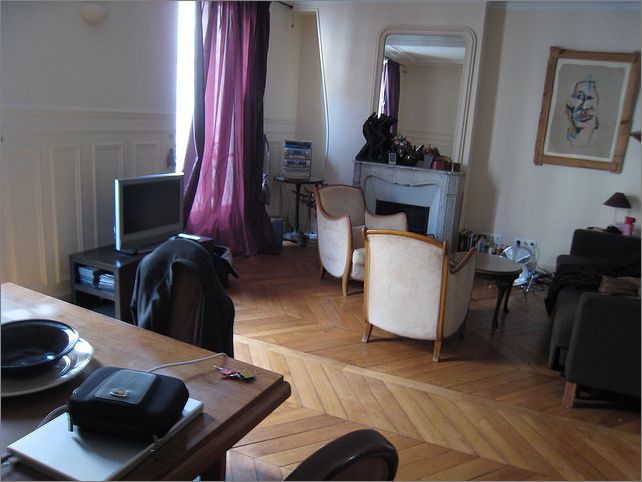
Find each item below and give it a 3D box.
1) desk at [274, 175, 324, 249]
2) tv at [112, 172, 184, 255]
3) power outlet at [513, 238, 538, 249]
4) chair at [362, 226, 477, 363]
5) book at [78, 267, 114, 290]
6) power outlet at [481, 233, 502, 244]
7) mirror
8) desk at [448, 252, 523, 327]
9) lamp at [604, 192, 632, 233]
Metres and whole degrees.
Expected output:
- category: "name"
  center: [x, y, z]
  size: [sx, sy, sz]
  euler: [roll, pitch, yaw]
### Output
- category: "desk"
  center: [-0.371, -0.409, 6.580]
  size: [0.767, 0.939, 0.776]
  euler: [7, 15, 28]
- category: "tv"
  center: [-1.428, -0.228, 4.155]
  size: [0.193, 0.540, 0.612]
  euler: [10, 15, 23]
- category: "power outlet"
  center: [2.417, 0.023, 6.041]
  size: [0.179, 0.119, 0.048]
  euler: [9, 4, 24]
- category: "chair"
  center: [0.733, 0.275, 4.368]
  size: [0.900, 1.275, 1.004]
  euler: [9, 20, 31]
- category: "book"
  center: [-1.780, 0.260, 4.051]
  size: [0.256, 0.088, 0.196]
  euler: [10, 8, 21]
- category: "power outlet"
  center: [2.035, -0.029, 6.131]
  size: [0.247, 0.110, 0.171]
  euler: [7, 13, 19]
- category: "mirror"
  center: [1.255, -1.730, 6.076]
  size: [1.493, 2.095, 0.106]
  euler: [10, 20, 23]
- category: "desk"
  center: [1.540, 0.309, 4.773]
  size: [0.666, 0.605, 0.689]
  euler: [15, 25, 40]
- category: "lamp"
  center: [3.179, -0.324, 5.496]
  size: [0.257, 0.400, 0.331]
  euler: [10, 15, 31]
